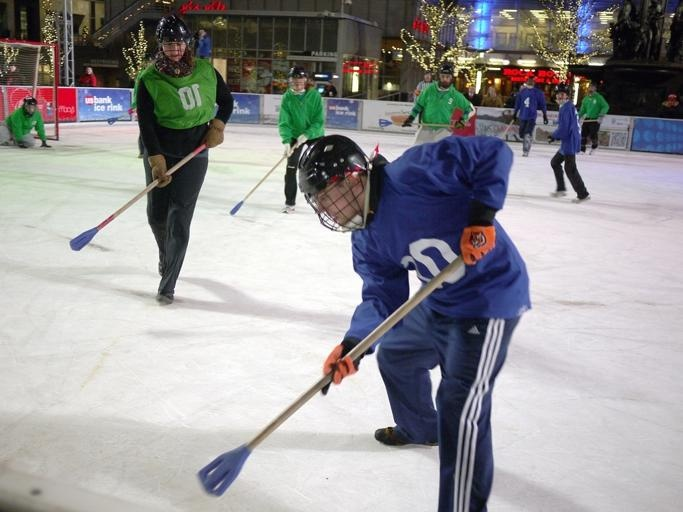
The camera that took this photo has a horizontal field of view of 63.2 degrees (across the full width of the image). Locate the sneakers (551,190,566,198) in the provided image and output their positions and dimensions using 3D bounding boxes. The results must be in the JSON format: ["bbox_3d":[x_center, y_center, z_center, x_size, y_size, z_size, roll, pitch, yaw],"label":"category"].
[{"bbox_3d":[3.717,-1.060,9.543,0.197,0.150,0.169,-15,6,35],"label":"sneakers"}]

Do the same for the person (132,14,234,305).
[{"bbox_3d":[-1.216,-0.723,4.302,0.682,2.136,0.441,-3,15,-27],"label":"person"}]

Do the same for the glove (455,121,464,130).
[{"bbox_3d":[1.901,-2.107,8.950,0.082,0.105,0.220,0,12,-13],"label":"glove"}]

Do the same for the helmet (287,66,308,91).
[{"bbox_3d":[-0.586,-2.373,7.517,0.239,0.351,0.279,2,13,-6],"label":"helmet"}]

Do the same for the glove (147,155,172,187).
[{"bbox_3d":[-1.365,-0.637,4.176,0.159,0.238,0.222,-1,13,-19],"label":"glove"}]

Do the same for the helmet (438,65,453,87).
[{"bbox_3d":[1.723,-2.971,9.184,0.211,0.386,0.265,5,13,7],"label":"helmet"}]

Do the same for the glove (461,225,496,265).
[{"bbox_3d":[0.485,-0.049,2.000,0.056,0.135,0.136,37,46,21],"label":"glove"}]

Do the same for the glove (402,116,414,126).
[{"bbox_3d":[1.156,-2.328,9.571,0.237,0.071,0.145,11,-11,7],"label":"glove"}]

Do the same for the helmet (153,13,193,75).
[{"bbox_3d":[-1.241,-1.547,4.117,0.279,0.452,0.274,-1,13,-18],"label":"helmet"}]

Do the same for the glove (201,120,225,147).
[{"bbox_3d":[-1.000,-0.971,4.377,0.200,0.211,0.086,0,19,16],"label":"glove"}]

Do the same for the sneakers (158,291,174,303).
[{"bbox_3d":[-1.349,0.323,4.293,0.113,0.049,0.071,4,2,39],"label":"sneakers"}]
